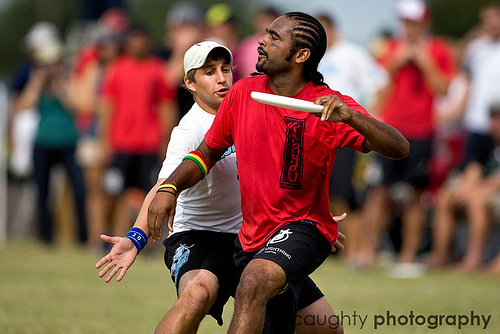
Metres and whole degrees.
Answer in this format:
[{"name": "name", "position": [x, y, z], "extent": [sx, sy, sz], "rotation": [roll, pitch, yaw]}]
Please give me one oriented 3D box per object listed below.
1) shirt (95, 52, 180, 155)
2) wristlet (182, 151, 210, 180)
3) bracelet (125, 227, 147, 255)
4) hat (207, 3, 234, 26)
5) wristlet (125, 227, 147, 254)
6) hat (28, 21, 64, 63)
[{"name": "shirt", "position": [-1.687, -0.935, 11.346], "extent": [1.460, 1.879, 0.654], "rotation": [2, 5, 10]}, {"name": "wristlet", "position": [-0.449, -0.037, 6.477], "extent": [0.079, 0.222, 0.201], "rotation": [-32, 28, -4]}, {"name": "bracelet", "position": [-0.963, 0.623, 6.401], "extent": [0.131, 0.186, 0.177], "rotation": [-22, 36, -26]}, {"name": "hat", "position": [-0.468, -2.411, 11.879], "extent": [0.420, 0.396, 0.776], "rotation": [-1, 5, -4]}, {"name": "wristlet", "position": [-0.961, 0.609, 6.404], "extent": [0.142, 0.184, 0.182], "rotation": [-24, 44, -26]}, {"name": "hat", "position": [-2.252, -1.369, 8.211], "extent": [0.173, 0.459, 1.261], "rotation": [-3, 6, -25]}]
